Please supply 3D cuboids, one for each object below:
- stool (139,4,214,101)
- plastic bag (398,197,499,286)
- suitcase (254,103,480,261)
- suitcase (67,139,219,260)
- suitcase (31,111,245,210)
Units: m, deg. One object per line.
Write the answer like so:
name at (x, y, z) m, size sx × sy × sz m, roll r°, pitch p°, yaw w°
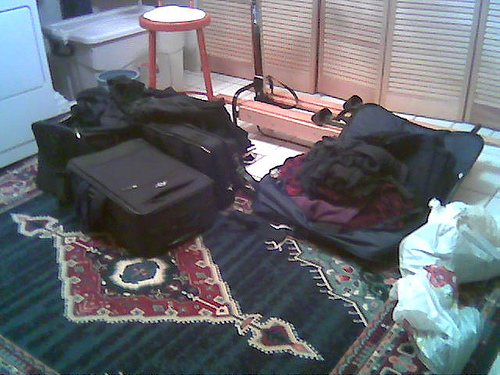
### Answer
stool at (-0.492, -0.887, 2.635) m, size 0.436 × 0.572 × 0.361 m, roll 27°, pitch 40°, yaw 34°
plastic bag at (0.789, 0.212, 1.580) m, size 0.356 × 0.138 × 0.302 m, roll -21°, pitch 56°, yaw 34°
suitcase at (0.604, -0.097, 2.099) m, size 0.886 × 0.452 × 0.904 m, roll 23°, pitch 36°, yaw 31°
suitcase at (-0.578, 0.016, 1.968) m, size 0.516 × 0.279 × 0.661 m, roll -29°, pitch 45°, yaw -35°
suitcase at (-0.650, -0.225, 2.151) m, size 0.949 × 0.312 × 0.578 m, roll 14°, pitch 31°, yaw 19°
